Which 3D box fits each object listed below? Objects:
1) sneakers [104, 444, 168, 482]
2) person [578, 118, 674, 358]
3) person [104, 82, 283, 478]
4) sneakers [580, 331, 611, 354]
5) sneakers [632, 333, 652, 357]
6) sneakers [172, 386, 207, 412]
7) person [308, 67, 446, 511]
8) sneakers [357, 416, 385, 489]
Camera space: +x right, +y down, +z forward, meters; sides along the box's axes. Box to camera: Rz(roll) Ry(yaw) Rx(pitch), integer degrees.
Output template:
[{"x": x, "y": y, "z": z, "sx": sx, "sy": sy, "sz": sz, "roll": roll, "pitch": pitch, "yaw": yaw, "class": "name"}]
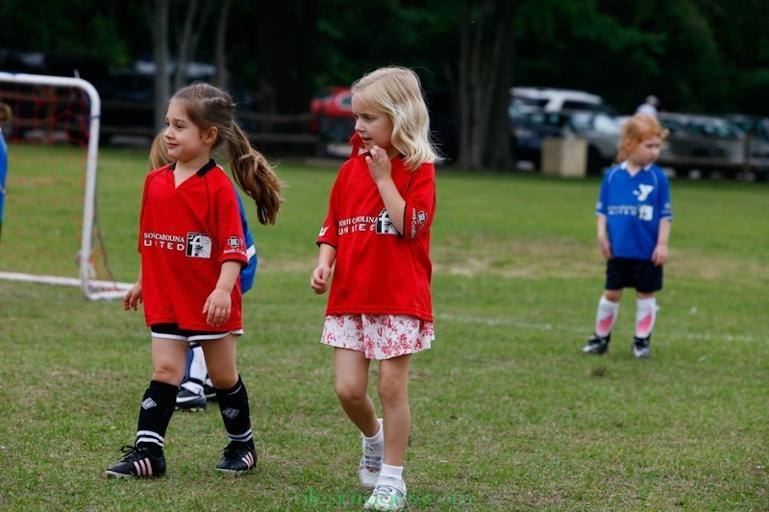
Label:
[{"x": -1.265, "y": 1.069, "z": 5.238, "sx": 0.315, "sy": 0.147, "sz": 0.135, "roll": 4, "pitch": -4, "yaw": -7, "class": "sneakers"}, {"x": 1.338, "y": -0.102, "z": 5.506, "sx": 0.405, "sy": 1.274, "sz": 0.191, "roll": 5, "pitch": 6, "yaw": 13, "class": "person"}, {"x": -1.011, "y": 0.109, "z": 5.381, "sx": 0.769, "sy": 2.019, "sz": 0.532, "roll": 3, "pitch": 6, "yaw": -7, "class": "person"}, {"x": 1.156, "y": 0.479, "z": 5.517, "sx": 0.071, "sy": 0.080, "sz": 0.199, "roll": 5, "pitch": -5, "yaw": -33, "class": "sneakers"}, {"x": 1.398, "y": 0.485, "z": 5.485, "sx": 0.061, "sy": 0.154, "sz": 0.070, "roll": 1, "pitch": 6, "yaw": 10, "class": "sneakers"}, {"x": -1.150, "y": 0.854, "z": 6.075, "sx": 0.227, "sy": 0.142, "sz": 0.109, "roll": 6, "pitch": -12, "yaw": -10, "class": "sneakers"}, {"x": -0.050, "y": 0.131, "z": 5.191, "sx": 0.630, "sy": 2.179, "sz": 0.527, "roll": 5, "pitch": 6, "yaw": 13, "class": "person"}, {"x": -0.046, "y": 1.013, "z": 5.297, "sx": 0.127, "sy": 0.335, "sz": 0.154, "roll": 0, "pitch": 8, "yaw": 7, "class": "sneakers"}]
